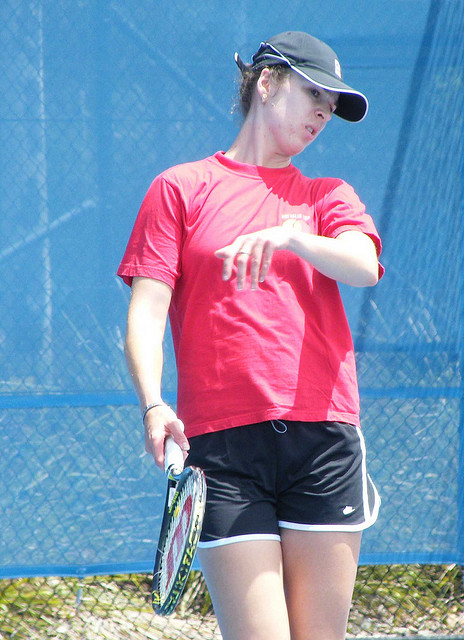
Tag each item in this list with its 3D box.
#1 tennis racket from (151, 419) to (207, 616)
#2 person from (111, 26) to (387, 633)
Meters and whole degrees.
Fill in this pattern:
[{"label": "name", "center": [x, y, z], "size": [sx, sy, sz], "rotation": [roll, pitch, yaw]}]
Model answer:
[{"label": "tennis racket", "center": [-0.122, 0.491, 1.983], "size": [0.090, 0.424, 0.334], "rotation": [5, 13, -5]}, {"label": "person", "center": [0.077, 0.000, 2.210], "size": [0.660, 1.417, 0.780], "rotation": [0, 14, -23]}]
